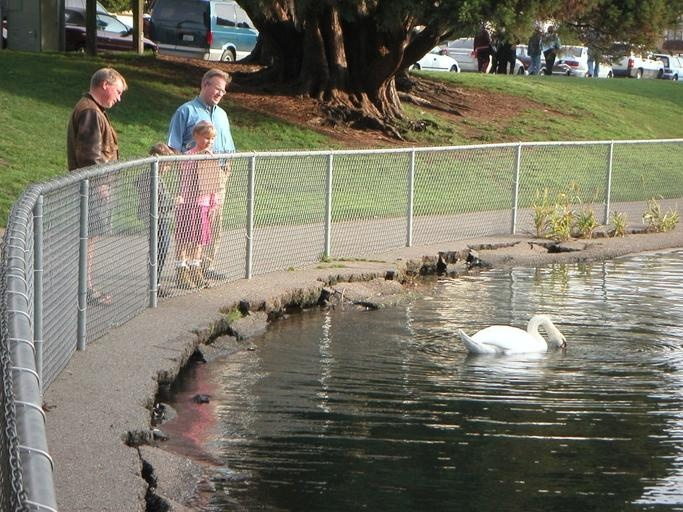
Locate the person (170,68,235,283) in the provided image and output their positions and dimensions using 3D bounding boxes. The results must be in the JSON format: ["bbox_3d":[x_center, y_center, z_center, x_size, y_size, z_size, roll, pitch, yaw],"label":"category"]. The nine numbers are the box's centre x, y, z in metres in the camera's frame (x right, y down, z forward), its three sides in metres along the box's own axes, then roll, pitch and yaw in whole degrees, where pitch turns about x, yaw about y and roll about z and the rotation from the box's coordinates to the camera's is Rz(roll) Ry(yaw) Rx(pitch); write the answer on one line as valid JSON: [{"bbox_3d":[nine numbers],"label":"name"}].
[{"bbox_3d":[-1.666,-0.971,15.347,1.025,2.602,0.734,1,6,-37],"label":"person"}]

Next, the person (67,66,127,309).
[{"bbox_3d":[-2.734,-0.796,14.157,0.687,2.608,0.969,2,2,-14],"label":"person"}]
